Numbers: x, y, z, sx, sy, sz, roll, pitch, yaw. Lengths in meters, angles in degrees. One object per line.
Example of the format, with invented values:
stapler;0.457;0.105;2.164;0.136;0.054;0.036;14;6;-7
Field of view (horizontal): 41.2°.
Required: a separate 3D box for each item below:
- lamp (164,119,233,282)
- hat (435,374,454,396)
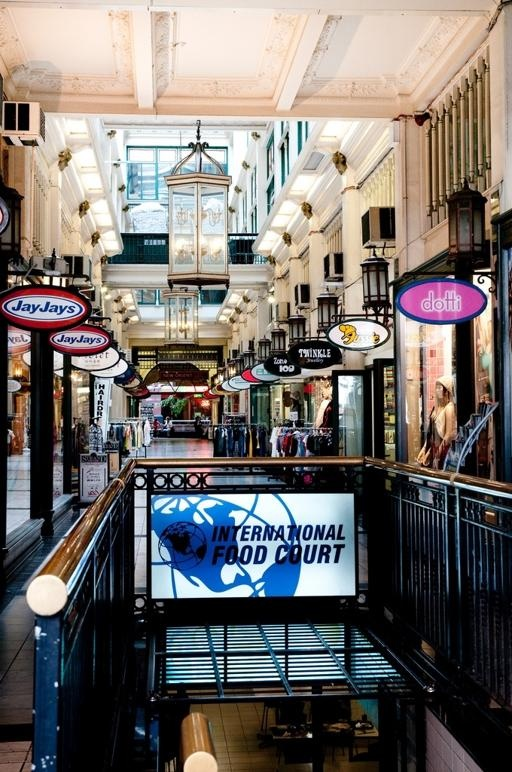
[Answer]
lamp;-0.660;-2.133;7.989;0.667;2.068;0.679;-1;-2;1
hat;1.501;-0.005;5.436;0.069;0.157;0.188;-3;6;-12
